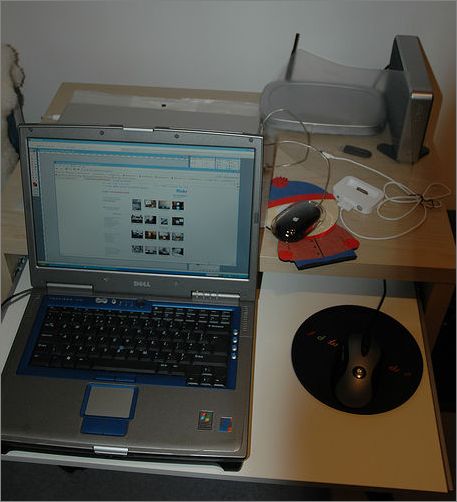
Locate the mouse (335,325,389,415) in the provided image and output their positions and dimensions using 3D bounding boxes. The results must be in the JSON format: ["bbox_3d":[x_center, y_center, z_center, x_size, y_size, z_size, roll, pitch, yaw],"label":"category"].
[{"bbox_3d":[0.210,0.192,0.724,0.067,0.034,0.128,10,66,14],"label":"mouse"}]
